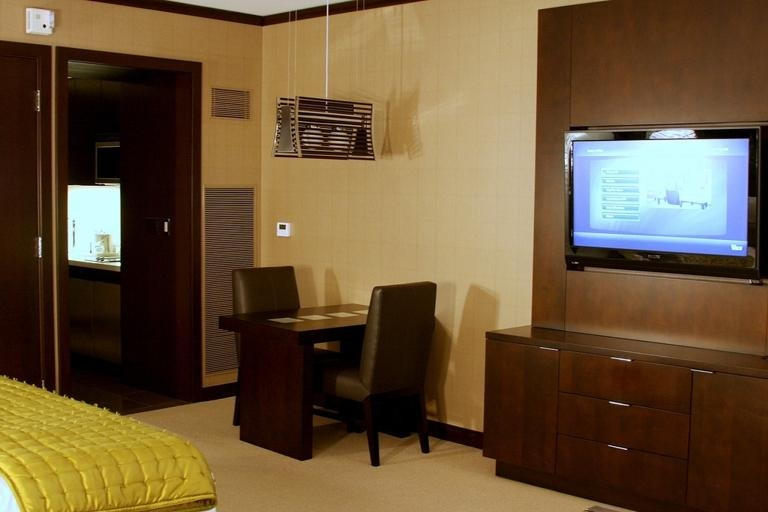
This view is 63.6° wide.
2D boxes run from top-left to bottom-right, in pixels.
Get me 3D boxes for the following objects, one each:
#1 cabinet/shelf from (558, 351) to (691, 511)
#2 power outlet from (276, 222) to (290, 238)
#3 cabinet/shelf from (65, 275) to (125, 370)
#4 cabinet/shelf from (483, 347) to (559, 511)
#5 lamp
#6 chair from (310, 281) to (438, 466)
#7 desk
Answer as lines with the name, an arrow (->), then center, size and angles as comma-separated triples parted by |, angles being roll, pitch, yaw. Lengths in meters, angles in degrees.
cabinet/shelf -> 1.619, 1.150, 4.086 | 1.016, 1.041, 0.571 | 2, 1, 42
power outlet -> -1.025, -0.263, 6.329 | 0.179, 0.165, 0.031 | 5, 8, 31
cabinet/shelf -> -3.161, 0.699, 7.235 | 1.009, 0.995, 0.527 | 5, 6, 30
cabinet/shelf -> 1.113, 1.122, 4.748 | 0.624, 1.078, 0.680 | 4, 5, 33
lamp -> -0.454, -0.991, 4.861 | 0.703, 0.413, 0.271 | 0, 3, -19
chair -> -0.114, 0.914, 5.136 | 0.823, 1.380, 0.897 | 2, 0, -37
desk -> -0.691, 0.850, 5.292 | 1.030, 1.113, 1.329 | 5, 5, 38
